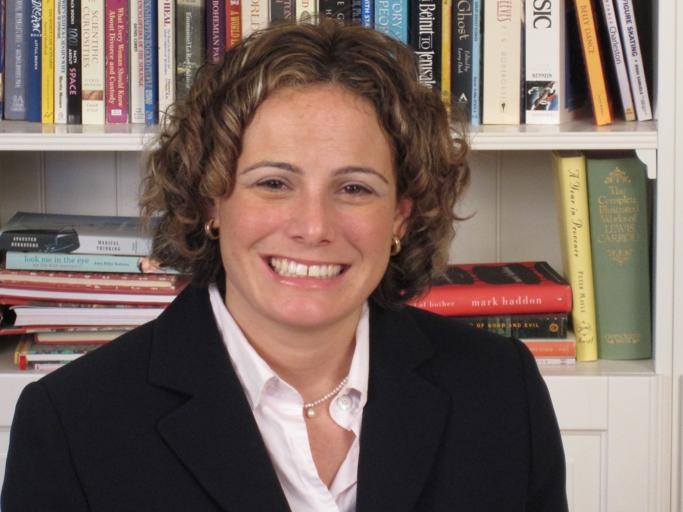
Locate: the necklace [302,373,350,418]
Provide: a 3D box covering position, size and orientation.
[{"bbox_3d":[-0.037,0.258,1.291,0.120,0.027,0.043,-28,22,-3],"label":"necklace"}]
